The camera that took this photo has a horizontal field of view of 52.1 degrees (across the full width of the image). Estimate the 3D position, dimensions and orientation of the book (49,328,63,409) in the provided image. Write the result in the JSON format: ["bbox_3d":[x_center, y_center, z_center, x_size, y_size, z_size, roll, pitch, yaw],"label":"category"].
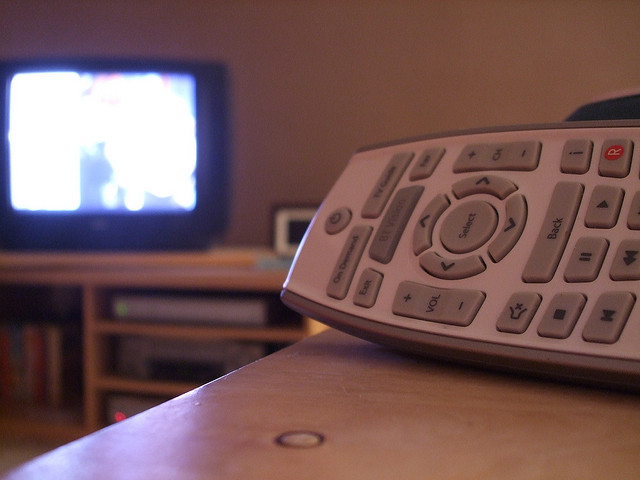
[{"bbox_3d":[-0.600,0.290,1.487,0.030,0.171,0.039,-1,12,-22],"label":"book"}]

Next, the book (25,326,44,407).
[{"bbox_3d":[-0.654,0.288,1.491,0.057,0.174,0.035,8,12,24],"label":"book"}]
